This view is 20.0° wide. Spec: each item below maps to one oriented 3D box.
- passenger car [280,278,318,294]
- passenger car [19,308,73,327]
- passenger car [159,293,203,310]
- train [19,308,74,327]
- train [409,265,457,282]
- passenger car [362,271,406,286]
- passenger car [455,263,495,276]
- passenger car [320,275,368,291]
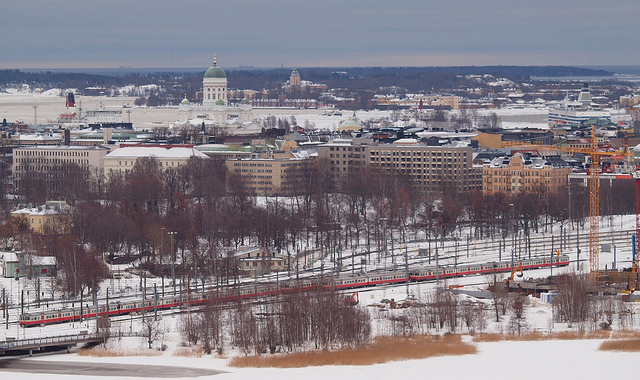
[{"bbox_3d":[-2.074,8.139,152.785,5.537,1.150,1.035,0,-3,-39],"label":"passenger car"},{"bbox_3d":[-21.014,10.485,148.508,6.109,1.345,1.375,-2,-1,-35],"label":"passenger car"},{"bbox_3d":[-11.169,9.323,150.800,3.453,1.141,1.798,-4,5,-1],"label":"passenger car"},{"bbox_3d":[-21.075,10.486,148.339,5.566,1.184,1.418,-1,-1,-37],"label":"train"},{"bbox_3d":[9.991,7.396,158.024,4.012,1.001,1.699,-5,5,-13],"label":"train"},{"bbox_3d":[6.755,7.710,157.786,5.487,1.188,1.102,-3,4,-20],"label":"passenger car"},{"bbox_3d":[13.868,7.032,159.824,3.175,0.834,1.425,-4,5,-5],"label":"passenger car"},{"bbox_3d":[2.235,8.011,154.492,5.490,1.160,1.211,0,-2,-33],"label":"passenger car"}]
